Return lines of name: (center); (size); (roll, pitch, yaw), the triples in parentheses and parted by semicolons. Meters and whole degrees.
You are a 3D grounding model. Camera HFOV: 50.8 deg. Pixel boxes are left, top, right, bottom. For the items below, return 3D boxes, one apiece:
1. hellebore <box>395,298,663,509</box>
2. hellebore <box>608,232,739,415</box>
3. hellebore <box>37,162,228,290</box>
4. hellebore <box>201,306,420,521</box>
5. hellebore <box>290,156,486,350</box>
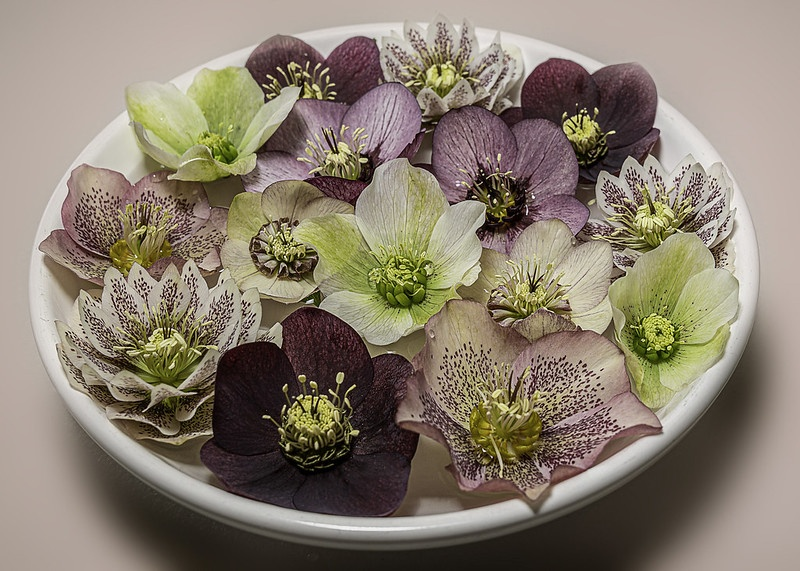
hellebore: (0.171, 0.136, 1.182); (0.286, 0.080, 0.283); (-25, 71, -6)
hellebore: (0.410, 0.060, 1.333); (0.194, 0.105, 0.267); (21, 82, 6)
hellebore: (-0.515, -0.078, 1.466); (0.071, 0.224, 0.222); (20, 85, 0)
hellebore: (-0.117, 0.171, 1.178); (0.287, 0.079, 0.279); (8, 71, 6)
hellebore: (-0.003, -0.040, 1.374); (0.292, 0.357, 0.137); (6, 49, -14)
